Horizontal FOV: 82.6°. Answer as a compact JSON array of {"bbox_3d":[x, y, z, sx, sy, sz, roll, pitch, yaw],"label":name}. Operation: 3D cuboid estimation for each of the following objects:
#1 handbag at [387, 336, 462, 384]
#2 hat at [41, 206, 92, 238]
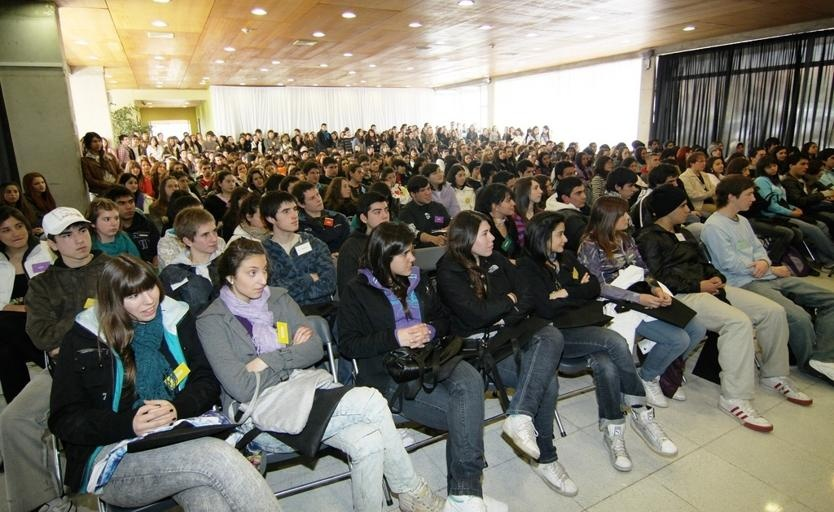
[{"bbox_3d":[0.088,0.827,3.658,0.615,0.300,0.278,-12,20,-33],"label":"handbag"},{"bbox_3d":[-2.813,-0.283,3.808,0.308,0.219,0.179,-9,19,-24],"label":"hat"}]
